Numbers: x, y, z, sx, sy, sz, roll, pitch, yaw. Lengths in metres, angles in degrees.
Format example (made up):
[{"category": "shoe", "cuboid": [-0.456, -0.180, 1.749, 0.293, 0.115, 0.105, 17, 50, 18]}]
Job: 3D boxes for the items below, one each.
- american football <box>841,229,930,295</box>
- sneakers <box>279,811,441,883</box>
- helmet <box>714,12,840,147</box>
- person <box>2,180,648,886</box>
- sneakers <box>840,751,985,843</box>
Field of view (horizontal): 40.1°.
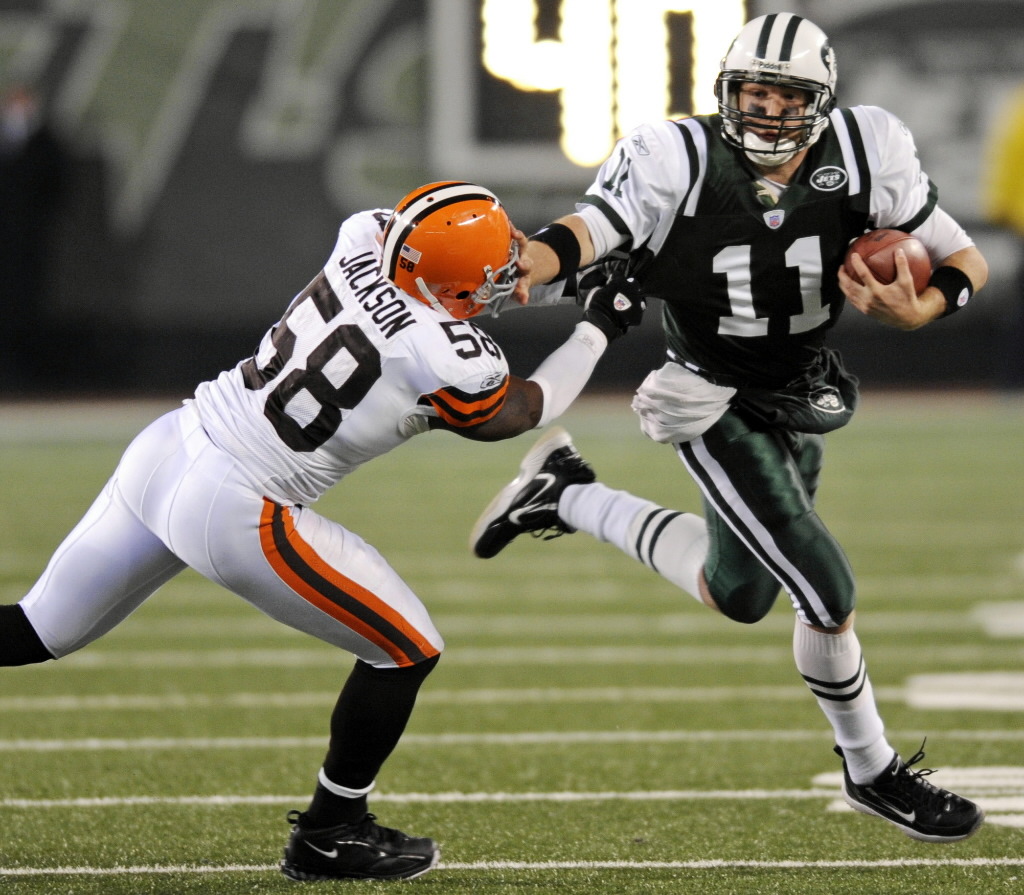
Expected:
[{"category": "american football", "cuboid": [0.816, -0.413, 3.096, 0.209, 0.151, 0.129, 8, 62, -11]}, {"category": "sneakers", "cuboid": [-0.327, 0.853, 3.013, 0.379, 0.121, 0.124, 0, 0, -8]}, {"category": "helmet", "cuboid": [0.607, -0.801, 3.096, 0.318, 0.275, 0.308, 8, 39, 15]}, {"category": "person", "cuboid": [-0.426, 0.176, 2.962, 1.222, 1.440, 0.403, 0, 12, 1]}, {"category": "sneakers", "cuboid": [0.883, 0.770, 3.162, 0.337, 0.122, 0.124, 13, 35, 36]}]
